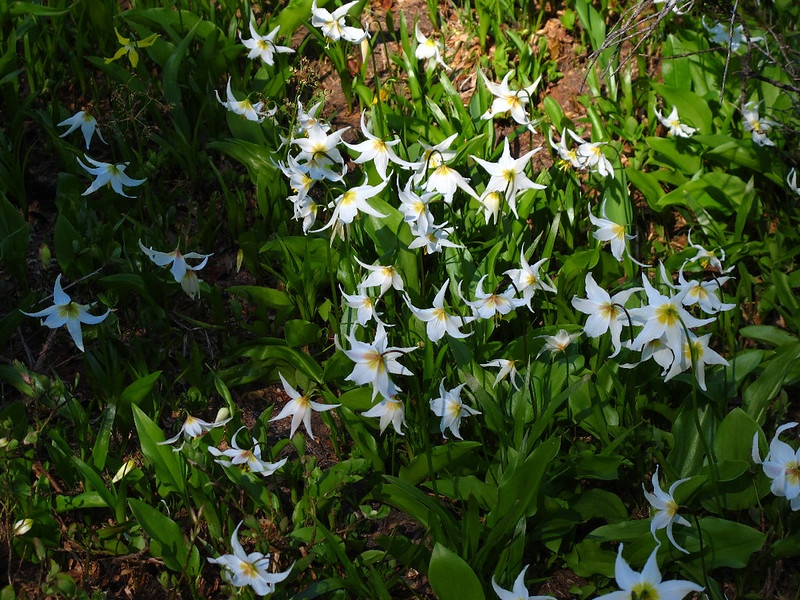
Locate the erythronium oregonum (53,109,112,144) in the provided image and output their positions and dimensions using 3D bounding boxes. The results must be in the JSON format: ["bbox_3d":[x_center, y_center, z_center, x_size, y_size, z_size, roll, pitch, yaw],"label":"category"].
[{"bbox_3d":[-1.763,-0.945,4.422,0.268,0.196,0.285,12,2,4],"label":"erythronium oregonum"}]

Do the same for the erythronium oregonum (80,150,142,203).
[{"bbox_3d":[-1.484,-0.673,4.040,0.212,0.095,0.297,-7,-3,-12],"label":"erythronium oregonum"}]

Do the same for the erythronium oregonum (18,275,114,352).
[{"bbox_3d":[-1.536,0.050,3.638,0.343,0.237,0.352,11,17,21],"label":"erythronium oregonum"}]

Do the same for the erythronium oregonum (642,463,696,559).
[{"bbox_3d":[1.095,0.850,3.265,0.087,0.371,0.307,-17,16,-5],"label":"erythronium oregonum"}]

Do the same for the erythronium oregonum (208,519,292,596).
[{"bbox_3d":[-0.622,1.092,3.307,0.258,0.396,0.111,-17,-3,2],"label":"erythronium oregonum"}]

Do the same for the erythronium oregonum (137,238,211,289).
[{"bbox_3d":[-1.103,-0.197,3.795,0.292,0.218,0.424,-3,-14,3],"label":"erythronium oregonum"}]
